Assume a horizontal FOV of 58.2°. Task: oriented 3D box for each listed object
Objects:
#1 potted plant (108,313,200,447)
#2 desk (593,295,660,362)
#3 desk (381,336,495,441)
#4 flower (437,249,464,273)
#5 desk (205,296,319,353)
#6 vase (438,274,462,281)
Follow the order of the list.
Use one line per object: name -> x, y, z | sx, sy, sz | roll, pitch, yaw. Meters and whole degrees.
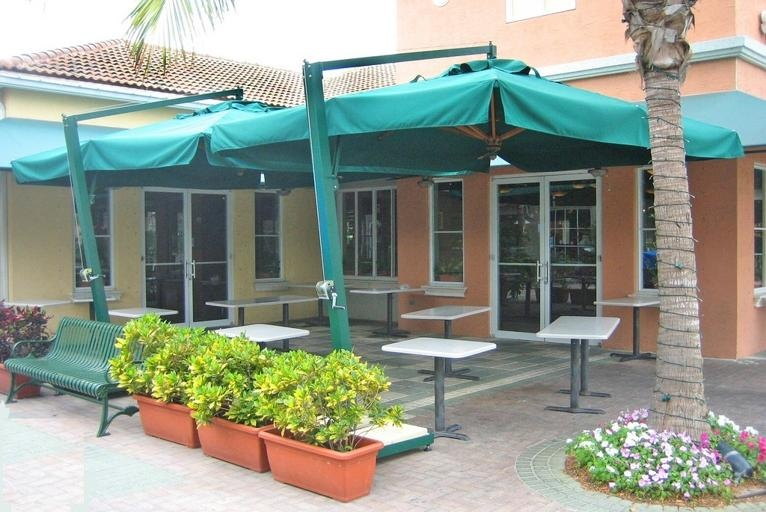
potted plant -> -2.445, 1.334, 7.529 | 1.193, 1.297, 0.627 | -1, 1, 42
desk -> 3.836, 1.080, 11.122 | 1.040, 0.979, 1.714 | 1, 1, 34
desk -> 0.654, 1.450, 7.628 | 1.681, 0.942, 1.437 | 4, -7, -1
flower -> 1.330, 0.095, 13.489 | 0.514, 0.296, 0.456 | 1, 2, -11
desk -> -2.096, 1.116, 11.547 | 1.367, 0.561, 0.629 | -3, 6, -44
vase -> 1.319, 0.404, 13.469 | 0.492, 0.112, 0.099 | -1, 2, 43
